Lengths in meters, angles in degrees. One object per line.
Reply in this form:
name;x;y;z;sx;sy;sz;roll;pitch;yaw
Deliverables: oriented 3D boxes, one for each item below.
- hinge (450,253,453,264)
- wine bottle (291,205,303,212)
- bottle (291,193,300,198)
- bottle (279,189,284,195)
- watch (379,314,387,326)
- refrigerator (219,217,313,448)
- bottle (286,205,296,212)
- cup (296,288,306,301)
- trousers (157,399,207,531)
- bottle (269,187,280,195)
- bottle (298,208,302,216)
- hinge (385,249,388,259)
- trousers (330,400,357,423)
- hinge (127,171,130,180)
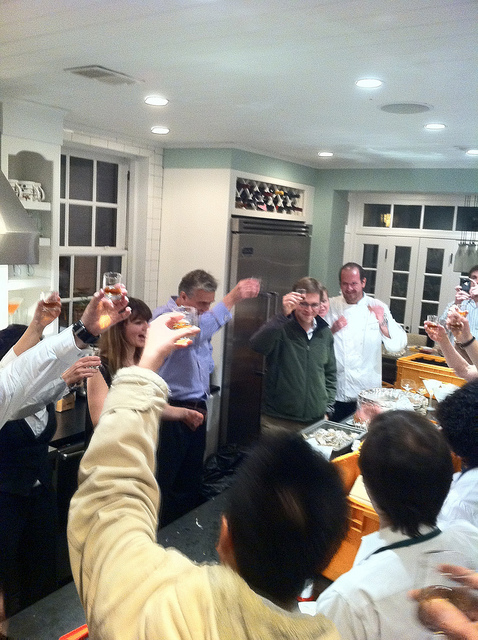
hinge;2.594;-0.769;5.415;0.007;0.131;0.023;-3;10;-40
wine bottle;0.678;-1.345;5.265;0.025;0.052;0.222;10;10;39
bottle;0.660;-1.510;5.264;0.042;0.064;0.152;8;9;32
bottle;0.463;-1.453;4.943;0.023;0.062;0.055;3;6;27
watch;1.211;-0.005;3.701;0.033;0.080;0.085;11;7;16
refrigerator;0.206;0.138;4.657;0.669;2.458;1.269;4;7;7
bottle;0.597;-1.315;5.182;0.149;0.069;0.025;-1;9;-33
cup;0.418;-0.183;3.014;0.064;0.076;0.185;5;7;8
trousers;-0.445;0.994;3.001;0.353;1.011;0.262;-15;40;-42
bottle;0.372;-1.443;4.865;0.130;0.070;0.038;-3;10;-41
bottle;0.719;-1.318;5.306;0.024;0.094;0.069;7;8;28
hinge;1.941;-0.894;5.859;0.008;0.116;0.036;-2;9;-38
trousers;0.880;0.764;3.742;0.299;0.071;0.317;1;1;2
hinge;-1.150;-1.497;4.524;0.028;0.076;0.010;4;7;4
